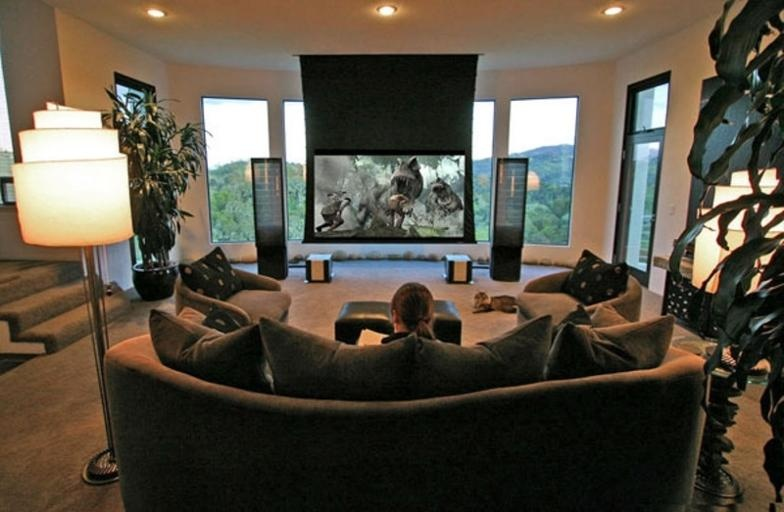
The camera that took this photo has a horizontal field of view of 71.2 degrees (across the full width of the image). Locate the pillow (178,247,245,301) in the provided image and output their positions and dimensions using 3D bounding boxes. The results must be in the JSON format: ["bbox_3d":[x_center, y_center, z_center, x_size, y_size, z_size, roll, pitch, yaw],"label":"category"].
[{"bbox_3d":[-1.724,0.206,5.269,0.170,0.525,0.567,-30,-3,28],"label":"pillow"}]

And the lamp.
[{"bbox_3d":[-2.097,0.283,3.916,0.654,2.605,0.754,-1,15,6],"label":"lamp"}]

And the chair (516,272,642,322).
[{"bbox_3d":[1.709,0.429,5.242,0.753,0.545,0.749,0,7,-8],"label":"chair"}]

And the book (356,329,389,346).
[{"bbox_3d":[-0.158,0.618,4.148,0.213,0.103,0.205,2,13,2],"label":"book"}]

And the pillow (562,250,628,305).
[{"bbox_3d":[2.095,0.226,5.605,0.236,0.429,0.589,3,5,-13],"label":"pillow"}]

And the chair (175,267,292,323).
[{"bbox_3d":[-1.482,0.414,5.299,0.821,0.604,0.810,0,14,-3],"label":"chair"}]
